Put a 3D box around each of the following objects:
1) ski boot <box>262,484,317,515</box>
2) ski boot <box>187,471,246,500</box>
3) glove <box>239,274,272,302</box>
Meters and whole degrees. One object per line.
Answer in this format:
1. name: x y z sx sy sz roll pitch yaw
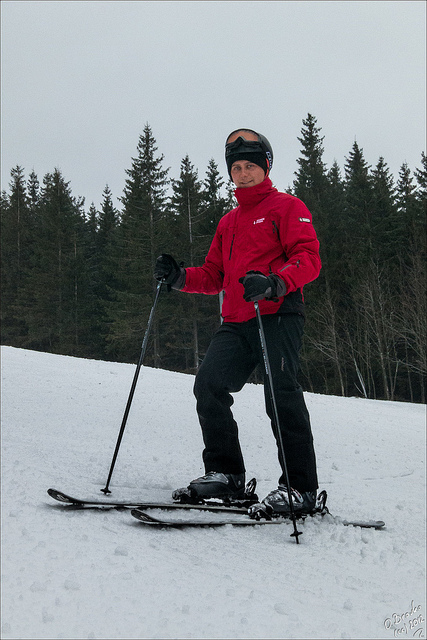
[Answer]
1. ski boot: 0.357 0.817 3.497 0.277 0.113 0.098 7 -29 -20
2. ski boot: 0.033 0.794 3.652 0.384 0.132 0.147 10 1 -43
3. glove: 0.195 -0.151 3.530 0.167 0.128 0.136 10 0 6
